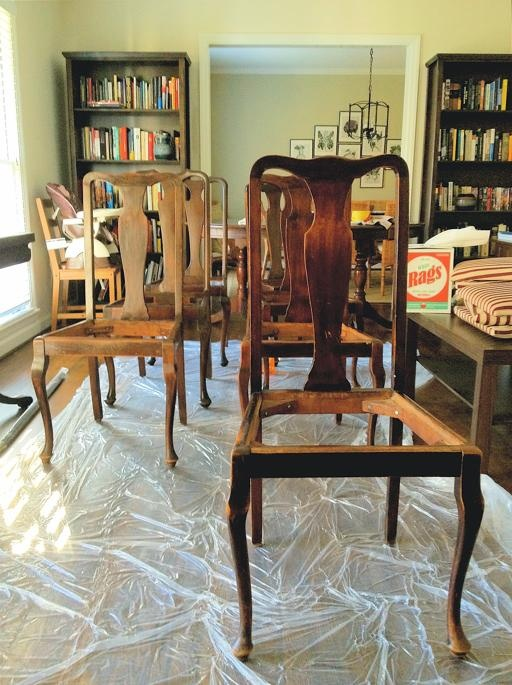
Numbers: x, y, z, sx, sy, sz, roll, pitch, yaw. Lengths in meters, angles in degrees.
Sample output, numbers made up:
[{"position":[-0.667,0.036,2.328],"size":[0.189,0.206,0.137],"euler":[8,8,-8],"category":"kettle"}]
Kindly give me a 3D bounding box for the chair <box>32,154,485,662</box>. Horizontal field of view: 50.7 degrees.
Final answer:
[{"position":[0.049,0.083,1.178],"size":[0.852,0.760,0.738],"euler":[5,11,17],"category":"chair"}]

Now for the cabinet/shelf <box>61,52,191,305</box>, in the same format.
[{"position":[-1.033,-1.547,4.591],"size":[0.979,1.654,0.441],"euler":[3,16,3],"category":"cabinet/shelf"}]
